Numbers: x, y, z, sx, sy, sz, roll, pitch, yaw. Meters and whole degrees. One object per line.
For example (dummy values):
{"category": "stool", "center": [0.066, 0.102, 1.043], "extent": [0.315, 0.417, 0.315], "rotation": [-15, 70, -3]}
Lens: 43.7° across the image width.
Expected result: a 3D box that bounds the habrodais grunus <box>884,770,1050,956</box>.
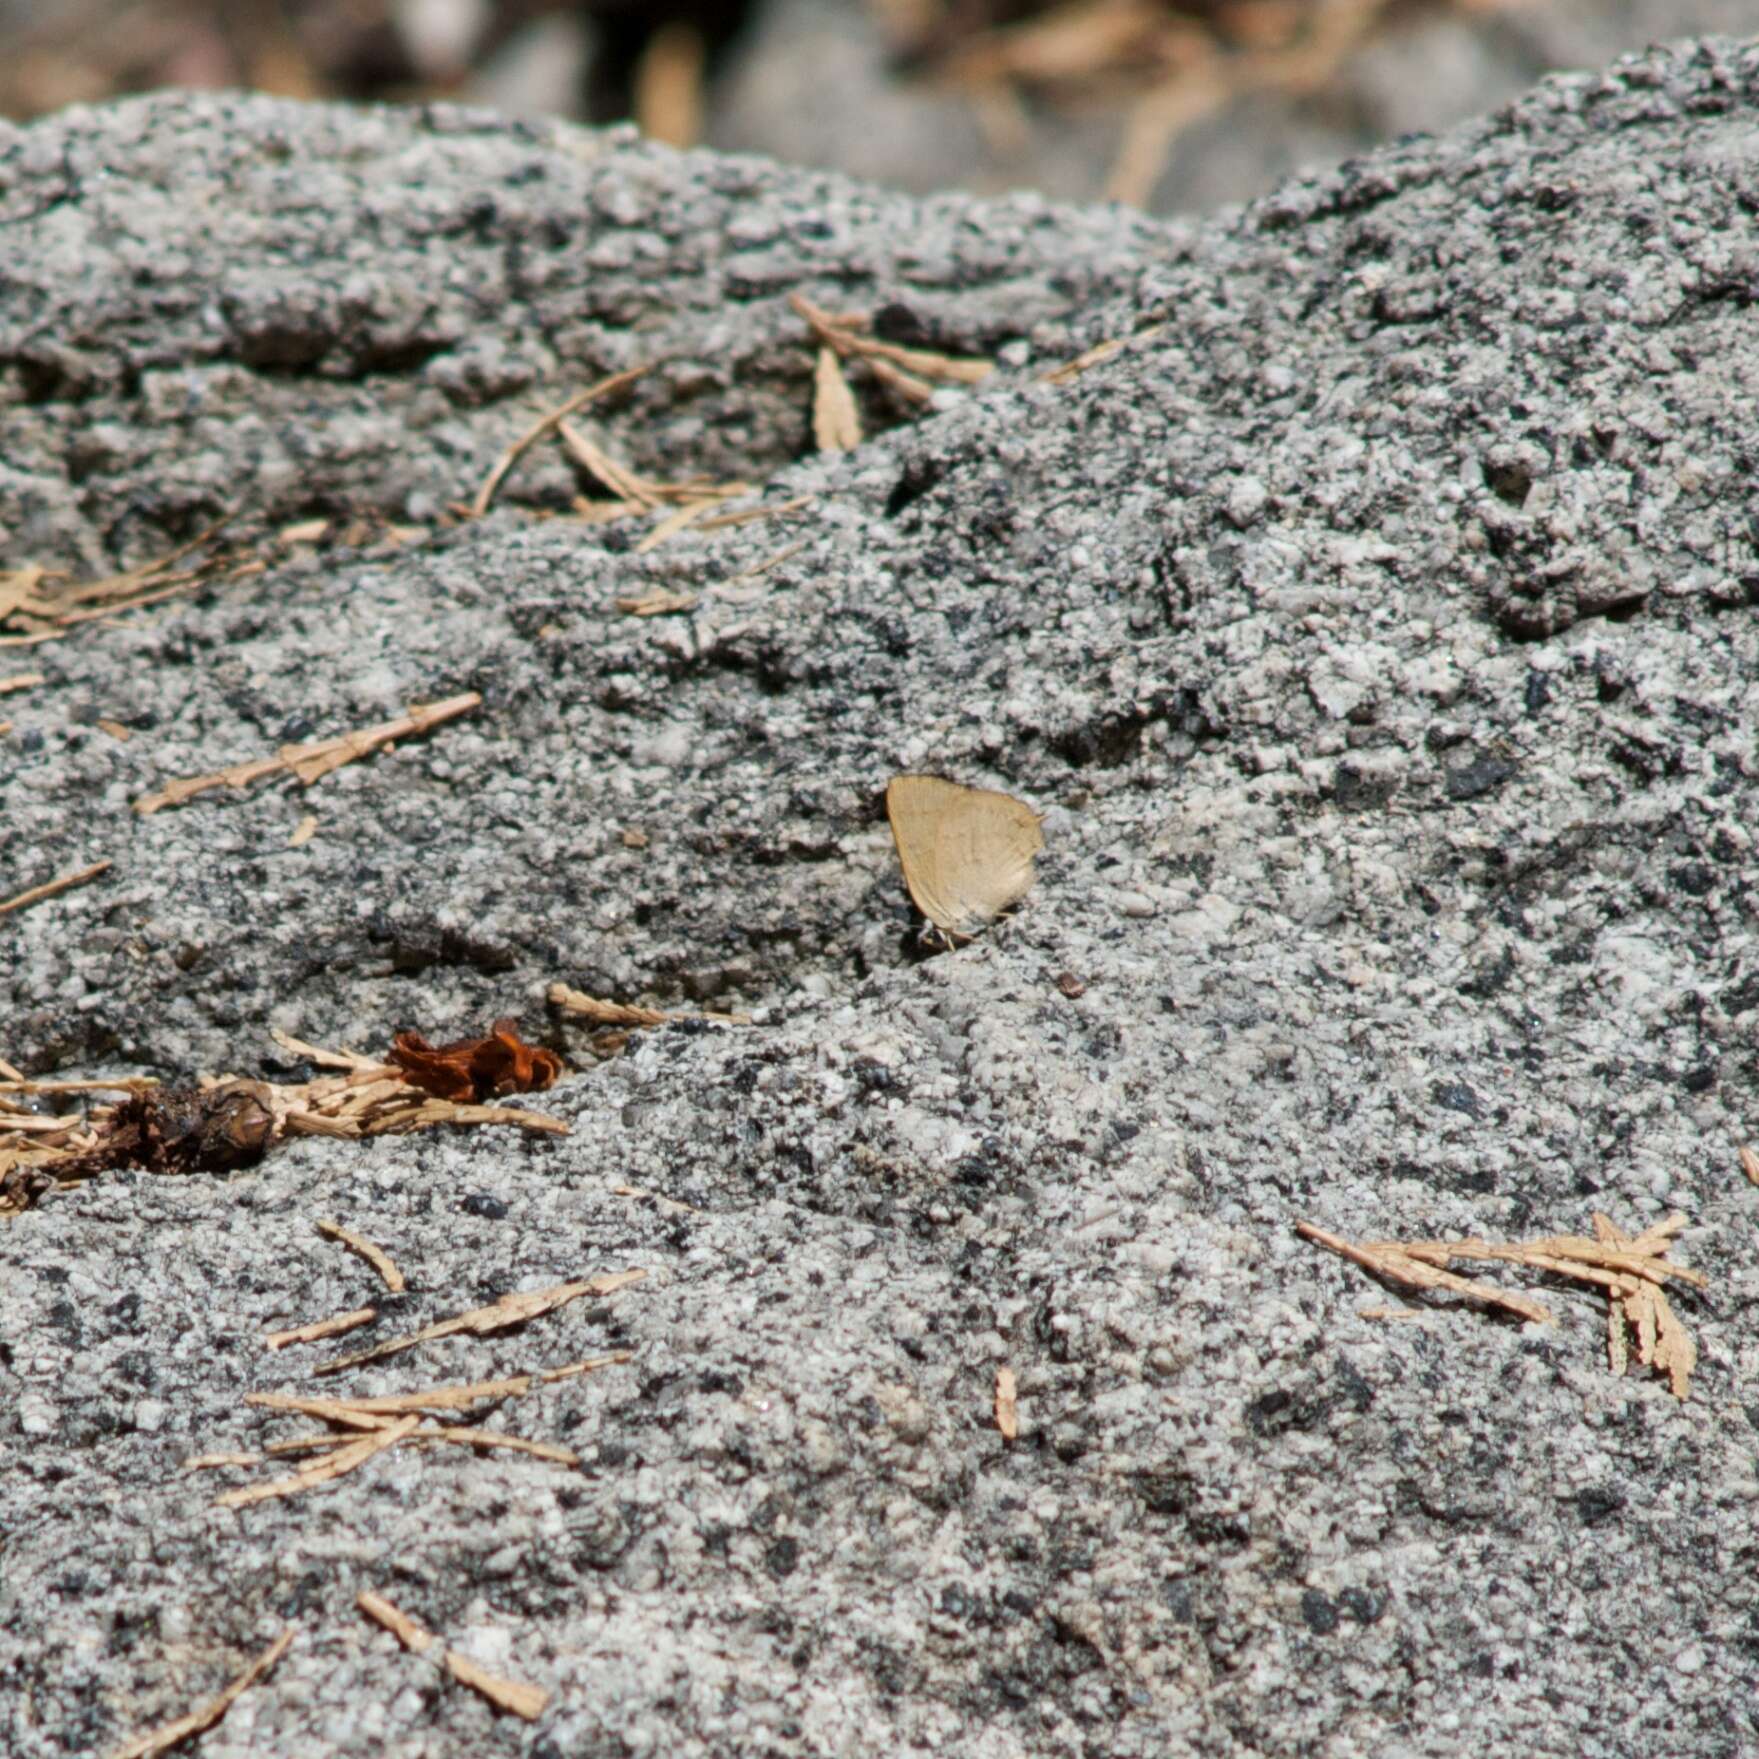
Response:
{"category": "habrodais grunus", "center": [0.096, -0.031, 2.241], "extent": [0.191, 0.146, 0.271], "rotation": [-8, 15, 1]}
